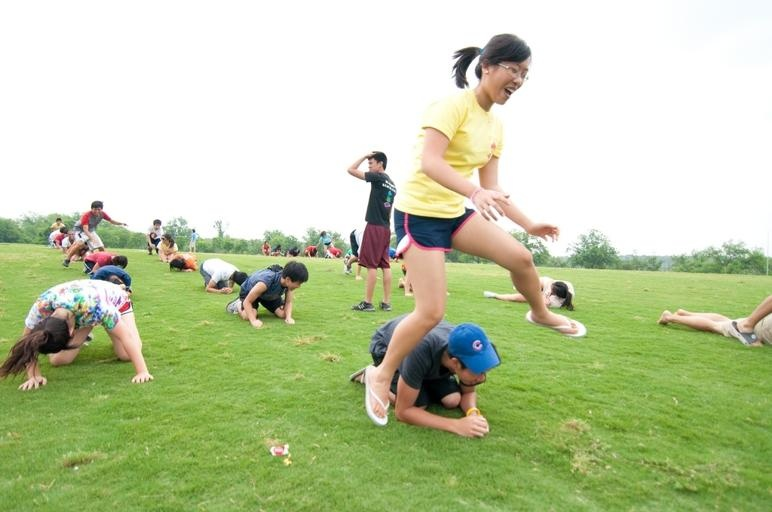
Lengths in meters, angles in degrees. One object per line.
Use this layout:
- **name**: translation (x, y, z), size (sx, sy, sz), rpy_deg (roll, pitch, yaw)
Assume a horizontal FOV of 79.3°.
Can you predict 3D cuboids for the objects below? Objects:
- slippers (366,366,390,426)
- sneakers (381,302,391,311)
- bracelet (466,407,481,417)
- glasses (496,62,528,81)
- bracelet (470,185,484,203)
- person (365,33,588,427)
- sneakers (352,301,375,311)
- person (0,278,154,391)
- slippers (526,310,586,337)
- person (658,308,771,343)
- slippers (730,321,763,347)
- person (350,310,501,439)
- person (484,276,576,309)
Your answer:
- **slippers**: translation (-0.145, 1.266, 4.146), size (0.126, 0.525, 0.196), rpy_deg (-23, -13, 38)
- **sneakers**: translation (0.003, 0.882, 8.109), size (0.084, 0.095, 0.226), rpy_deg (-4, 6, -32)
- **bracelet**: translation (0.804, 1.436, 4.282), size (0.092, 0.020, 0.091), rpy_deg (2, 11, 8)
- **glasses**: translation (1.063, -1.520, 3.887), size (0.234, 0.153, 0.196), rpy_deg (1, 1, 19)
- **bracelet**: translation (0.688, -0.469, 3.541), size (0.078, 0.129, 0.078), rpy_deg (1, 1, -6)
- **person**: translation (0.619, -0.164, 3.936), size (1.564, 3.348, 1.142), rpy_deg (1, 1, 27)
- **sneakers**: translation (-0.382, 0.863, 8.045), size (0.416, 0.183, 0.151), rpy_deg (3, 0, 5)
- **person**: translation (-3.206, 0.818, 4.923), size (1.115, 0.755, 1.378), rpy_deg (0, -8, -16)
- **slippers**: translation (1.608, 0.694, 4.406), size (0.517, 0.135, 0.287), rpy_deg (8, 20, 9)
- **person**: translation (4.941, 1.015, 6.997), size (0.952, 0.204, 0.545), rpy_deg (-4, 25, 45)
- **slippers**: translation (5.014, 1.105, 6.508), size (0.114, 0.128, 0.330), rpy_deg (22, 20, -19)
- **person**: translation (0.349, 1.080, 4.690), size (0.920, 1.073, 1.858), rpy_deg (-3, 8, -39)
- **person**: translation (3.037, 0.740, 9.458), size (0.992, 0.447, 1.523), rpy_deg (-4, 6, -30)
